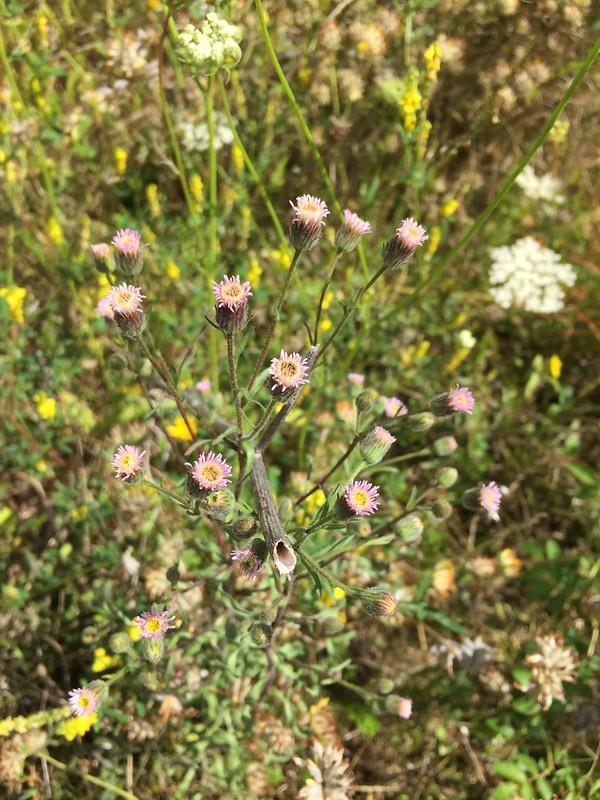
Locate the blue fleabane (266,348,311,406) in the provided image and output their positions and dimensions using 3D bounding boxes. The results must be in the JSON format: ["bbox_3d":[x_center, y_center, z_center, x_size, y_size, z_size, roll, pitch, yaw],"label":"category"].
[{"bbox_3d":[-0.034,-0.071,2.344,0.160,0.062,0.137,3,71,-5],"label":"blue fleabane"}]

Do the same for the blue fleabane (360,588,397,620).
[{"bbox_3d":[0.231,0.632,2.362,0.081,0.116,0.052,39,108,58],"label":"blue fleabane"}]

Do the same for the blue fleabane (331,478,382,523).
[{"bbox_3d":[0.182,0.311,2.359,0.060,0.135,0.122,27,106,30],"label":"blue fleabane"}]

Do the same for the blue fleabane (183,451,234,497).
[{"bbox_3d":[-0.281,0.231,2.404,0.143,0.072,0.142,35,70,11],"label":"blue fleabane"}]
